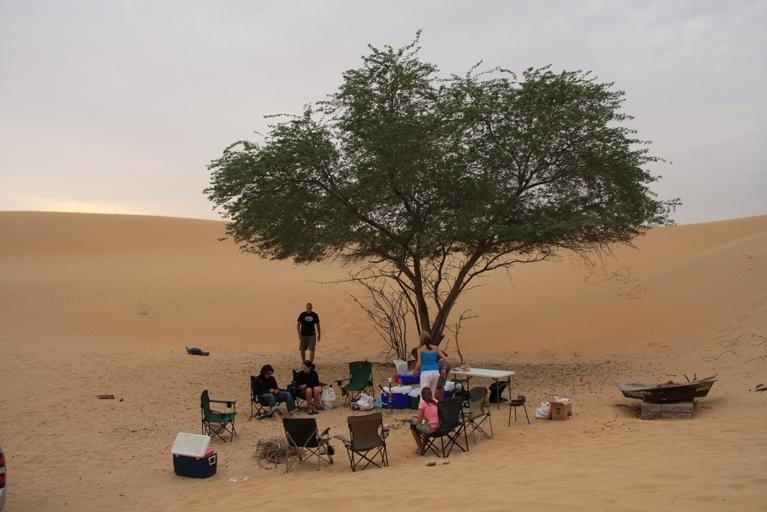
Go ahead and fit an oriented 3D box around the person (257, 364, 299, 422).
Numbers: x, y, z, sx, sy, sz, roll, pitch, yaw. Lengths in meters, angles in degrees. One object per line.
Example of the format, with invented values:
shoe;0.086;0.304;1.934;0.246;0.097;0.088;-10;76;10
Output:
person;-2.987;3.686;19.149;1.238;1.295;0.492;-3;-5;24

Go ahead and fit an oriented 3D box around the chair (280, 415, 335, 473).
chair;-1.766;4.450;16.539;1.508;1.582;1.303;-2;-7;10

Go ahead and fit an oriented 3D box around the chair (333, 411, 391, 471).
chair;-0.384;4.335;16.270;1.007;1.298;1.019;0;-5;-2

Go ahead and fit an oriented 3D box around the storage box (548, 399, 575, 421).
storage box;4.662;3.945;18.090;0.511;0.430;0.759;-3;-7;22

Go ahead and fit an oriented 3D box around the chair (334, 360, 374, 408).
chair;-1.130;3.765;20.531;1.376;1.489;1.215;-4;-14;16

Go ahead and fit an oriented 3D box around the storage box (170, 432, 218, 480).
storage box;-4.389;4.621;15.940;1.061;0.976;1.070;-2;-13;7

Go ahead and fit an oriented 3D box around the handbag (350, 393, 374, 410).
handbag;-0.555;4.169;19.699;0.618;0.369;0.960;-1;-5;8

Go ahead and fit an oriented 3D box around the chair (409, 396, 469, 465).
chair;1.406;4.150;16.703;1.300;1.258;1.168;-6;-5;-23

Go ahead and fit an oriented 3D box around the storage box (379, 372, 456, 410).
storage box;0.943;3.666;18.589;1.469;0.600;1.853;0;-4;9

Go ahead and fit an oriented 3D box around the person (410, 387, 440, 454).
person;1.007;3.932;16.509;0.758;1.568;0.629;-2;-5;22
